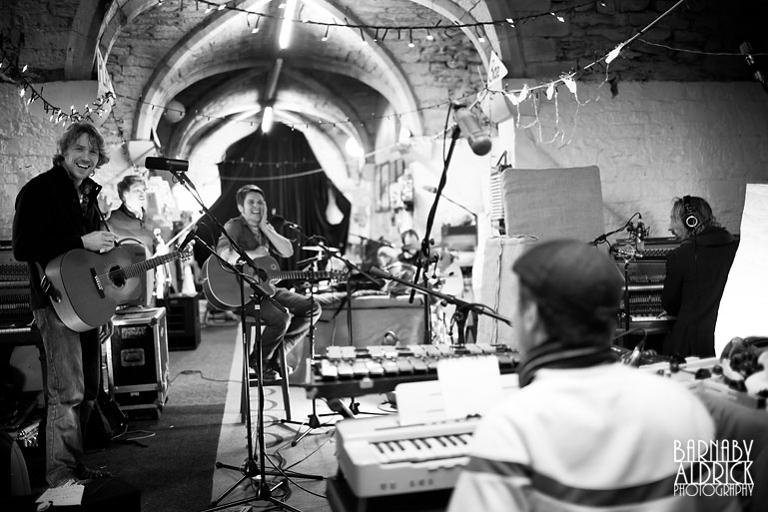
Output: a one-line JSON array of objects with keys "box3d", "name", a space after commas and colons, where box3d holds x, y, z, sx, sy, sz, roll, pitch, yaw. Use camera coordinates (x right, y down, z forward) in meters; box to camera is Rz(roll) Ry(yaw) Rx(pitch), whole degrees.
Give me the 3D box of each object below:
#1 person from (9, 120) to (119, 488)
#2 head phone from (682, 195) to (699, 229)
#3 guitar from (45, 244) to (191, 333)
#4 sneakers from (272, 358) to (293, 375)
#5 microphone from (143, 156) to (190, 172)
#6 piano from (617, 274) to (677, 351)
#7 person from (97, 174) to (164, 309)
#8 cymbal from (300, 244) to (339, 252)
[{"box3d": [-2.653, 0.396, 5.780, 0.749, 2.996, 1.172, -2, 9, -11], "name": "person"}, {"box3d": [3.038, -0.427, 6.819, 0.105, 0.261, 0.267, -12, -18, 19], "name": "head phone"}, {"box3d": [-2.326, 0.134, 6.332, 0.198, 0.680, 1.518, -18, 8, 31], "name": "guitar"}, {"box3d": [-1.101, 1.214, 7.445, 0.181, 0.239, 0.114, -6, 0, -2], "name": "sneakers"}, {"box3d": [-1.754, -0.733, 5.552, 0.310, 0.123, 0.363, -3, 9, -19], "name": "microphone"}, {"box3d": [2.854, 0.713, 7.476, 0.455, 0.742, 0.457, 0, 5, 15], "name": "piano"}, {"box3d": [-2.994, -0.219, 8.337, 0.303, 1.774, 0.902, -10, -15, 18], "name": "person"}, {"box3d": [-0.908, -0.106, 9.418, 0.297, 0.071, 0.304, 6, 1, -14], "name": "cymbal"}]
